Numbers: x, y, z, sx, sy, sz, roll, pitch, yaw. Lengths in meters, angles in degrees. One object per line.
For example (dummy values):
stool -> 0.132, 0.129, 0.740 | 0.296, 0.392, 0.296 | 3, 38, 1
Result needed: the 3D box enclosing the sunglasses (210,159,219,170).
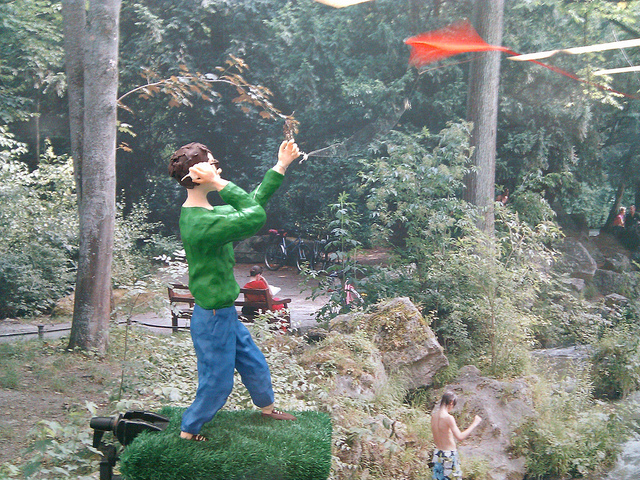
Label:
sunglasses -> -1.590, -1.154, 11.247 | 0.107, 0.094, 0.143 | 1, 10, 21
